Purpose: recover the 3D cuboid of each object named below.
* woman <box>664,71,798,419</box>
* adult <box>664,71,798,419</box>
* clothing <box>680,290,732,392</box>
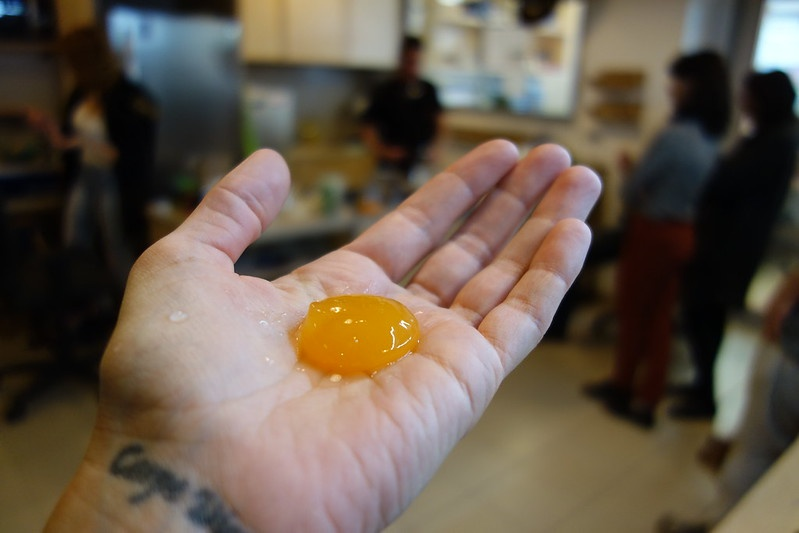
[{"bbox_3d":[0.990,-0.108,2.058,0.320,0.887,0.703,1,13,23],"label":"woman"},{"bbox_3d":[0.991,-0.109,2.059,0.320,0.887,0.701,1,13,23],"label":"adult"},{"bbox_3d":[0.924,0.226,2.117,0.123,0.099,0.455,24,40,7],"label":"clothing"}]
